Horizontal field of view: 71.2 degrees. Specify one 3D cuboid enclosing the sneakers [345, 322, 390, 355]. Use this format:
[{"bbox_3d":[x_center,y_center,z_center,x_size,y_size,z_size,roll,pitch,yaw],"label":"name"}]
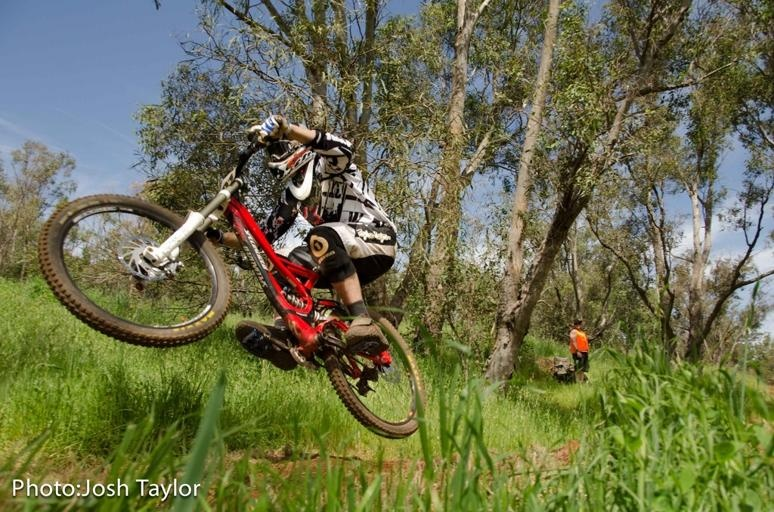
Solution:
[{"bbox_3d":[-0.198,0.798,5.390,0.234,0.213,0.433,-23,-43,14],"label":"sneakers"}]
